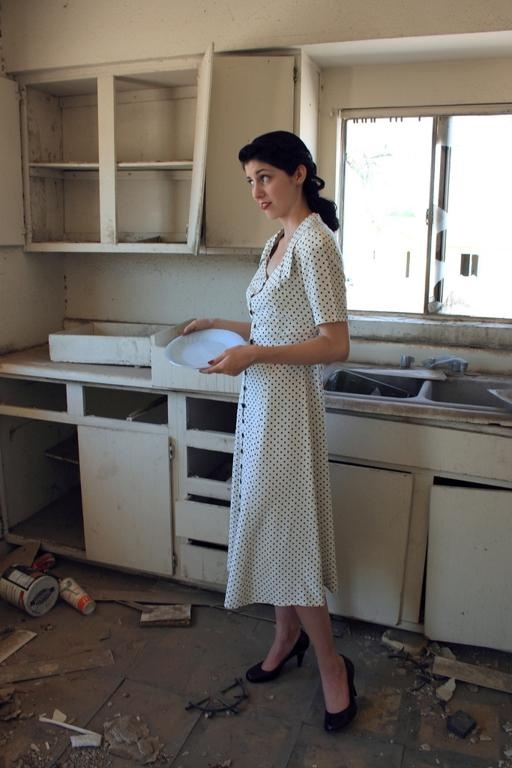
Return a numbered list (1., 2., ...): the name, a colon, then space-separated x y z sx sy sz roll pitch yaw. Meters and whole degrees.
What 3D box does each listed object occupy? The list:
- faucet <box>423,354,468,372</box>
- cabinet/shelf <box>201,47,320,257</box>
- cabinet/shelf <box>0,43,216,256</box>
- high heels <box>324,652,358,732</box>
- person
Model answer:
1. faucet: 0.670 -0.073 2.202 0.129 0.056 0.142 0 12 2
2. cabinet/shelf: 0.035 -0.811 2.364 0.452 0.746 0.462 2 -5 -13
3. cabinet/shelf: -0.532 -0.879 2.496 0.782 0.701 0.418 4 15 10
4. high heels: 0.240 0.865 1.729 0.063 0.086 0.198 -5 12 22
5. person: 0.066 0.172 1.593 0.389 1.546 0.371 -11 15 -42
